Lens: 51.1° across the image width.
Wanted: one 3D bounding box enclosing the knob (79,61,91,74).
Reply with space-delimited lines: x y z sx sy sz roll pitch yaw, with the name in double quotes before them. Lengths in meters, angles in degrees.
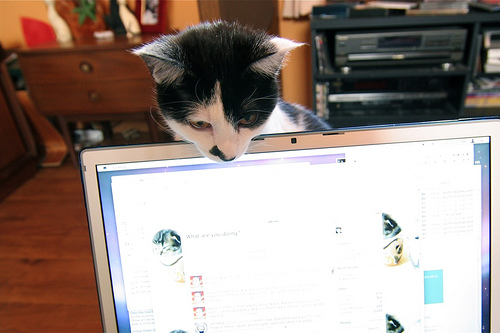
"knob" -0.865 -0.519 2.720 0.056 0.056 0.018 -10 22 10
